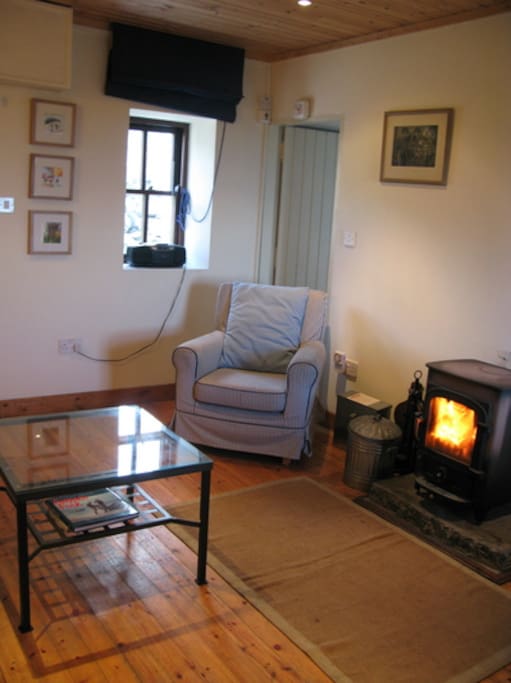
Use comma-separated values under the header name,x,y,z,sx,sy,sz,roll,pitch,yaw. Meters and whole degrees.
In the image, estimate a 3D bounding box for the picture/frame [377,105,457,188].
name,x,y,z,sx,sy,sz,roll,pitch,yaw
picture/frame,0.849,-1.037,2.964,0.421,0.353,0.029,-8,19,-22

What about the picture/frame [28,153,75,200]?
name,x,y,z,sx,sy,sz,roll,pitch,yaw
picture/frame,-1.198,-0.972,3.256,0.277,0.277,0.028,-9,22,-34

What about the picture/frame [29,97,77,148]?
name,x,y,z,sx,sy,sz,roll,pitch,yaw
picture/frame,-1.168,-1.261,3.199,0.297,0.281,0.039,-11,24,-43

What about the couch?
name,x,y,z,sx,sy,sz,roll,pitch,yaw
couch,0.012,0.168,3.361,1.053,1.135,0.942,7,14,17

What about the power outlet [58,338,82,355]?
name,x,y,z,sx,sy,sz,roll,pitch,yaw
power outlet,-1.182,0.028,3.551,0.107,0.073,0.014,-3,16,-36

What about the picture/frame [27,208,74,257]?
name,x,y,z,sx,sy,sz,roll,pitch,yaw
picture/frame,-1.229,-0.656,3.322,0.291,0.322,0.034,-7,18,-34

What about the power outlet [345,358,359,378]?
name,x,y,z,sx,sy,sz,roll,pitch,yaw
power outlet,0.611,0.161,3.509,0.014,0.140,0.108,-10,18,-40

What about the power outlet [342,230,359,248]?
name,x,y,z,sx,sy,sz,roll,pitch,yaw
power outlet,0.591,-0.639,3.465,0.031,0.094,0.096,-4,13,-41

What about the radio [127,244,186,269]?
name,x,y,z,sx,sy,sz,roll,pitch,yaw
radio,-0.653,-0.579,3.812,0.253,0.121,0.238,-2,13,-20

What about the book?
name,x,y,z,sx,sy,sz,roll,pitch,yaw
book,-0.529,0.549,1.837,0.189,0.036,0.181,-4,12,-34
